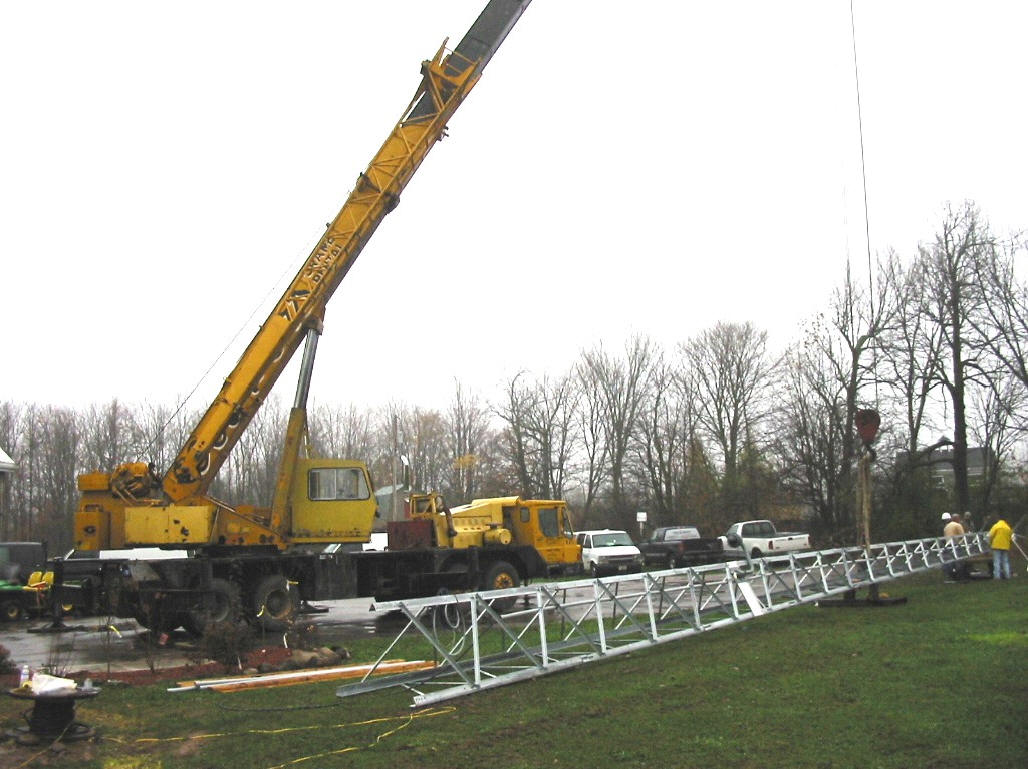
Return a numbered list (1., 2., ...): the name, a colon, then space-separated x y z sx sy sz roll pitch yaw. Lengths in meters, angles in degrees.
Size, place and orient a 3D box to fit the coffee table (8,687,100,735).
1. coffee table: -6.838 4.905 14.511 0.976 0.764 1.132 4 -9 -40
